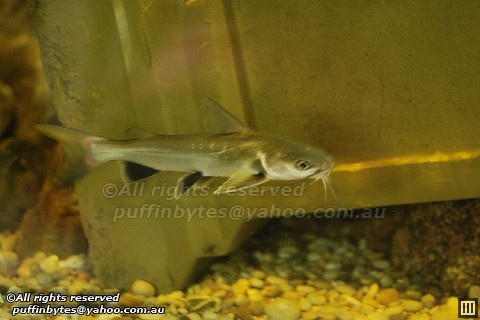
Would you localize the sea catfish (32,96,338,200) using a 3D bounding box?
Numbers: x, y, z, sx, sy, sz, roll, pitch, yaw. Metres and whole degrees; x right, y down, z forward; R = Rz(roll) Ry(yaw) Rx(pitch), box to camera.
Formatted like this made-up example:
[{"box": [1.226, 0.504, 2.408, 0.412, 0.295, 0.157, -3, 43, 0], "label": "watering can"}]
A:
[{"box": [-0.219, -0.037, 1.987, 1.170, 0.386, 0.261, 2, 24, -9], "label": "sea catfish"}]
